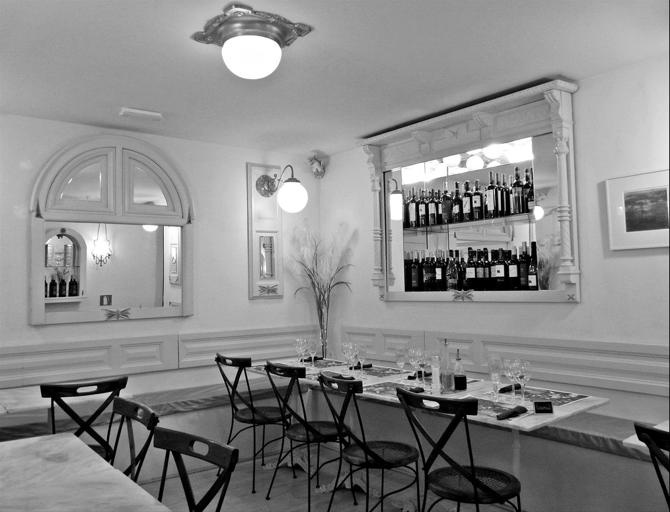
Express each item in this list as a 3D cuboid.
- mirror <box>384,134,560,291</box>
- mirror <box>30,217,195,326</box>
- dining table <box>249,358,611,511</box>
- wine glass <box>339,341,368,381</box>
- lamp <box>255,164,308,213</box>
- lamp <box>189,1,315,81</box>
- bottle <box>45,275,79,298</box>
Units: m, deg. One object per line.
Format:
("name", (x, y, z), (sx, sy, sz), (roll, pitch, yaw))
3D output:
("mirror", (1.172, -0.446, 4.878), (0.294, 1.813, 2.135), (-3, -1, -43))
("mirror", (-2.264, 0.163, 5.067), (1.078, 0.817, 0.050), (2, -4, -31))
("dining table", (0.797, 1.246, 3.650), (1.251, 0.830, 1.873), (-4, -1, -40))
("wine glass", (0.159, 0.877, 4.452), (0.220, 0.393, 0.209), (-2, -2, -2))
("lamp", (-0.633, -0.776, 5.695), (0.497, 0.590, 1.101), (-4, -1, -9))
("lamp", (-0.495, -1.344, 3.249), (0.525, 0.232, 0.520), (3, -6, -29))
("bottle", (-2.589, 0.292, 4.866), (0.279, 0.198, 0.028), (-4, 0, -29))
